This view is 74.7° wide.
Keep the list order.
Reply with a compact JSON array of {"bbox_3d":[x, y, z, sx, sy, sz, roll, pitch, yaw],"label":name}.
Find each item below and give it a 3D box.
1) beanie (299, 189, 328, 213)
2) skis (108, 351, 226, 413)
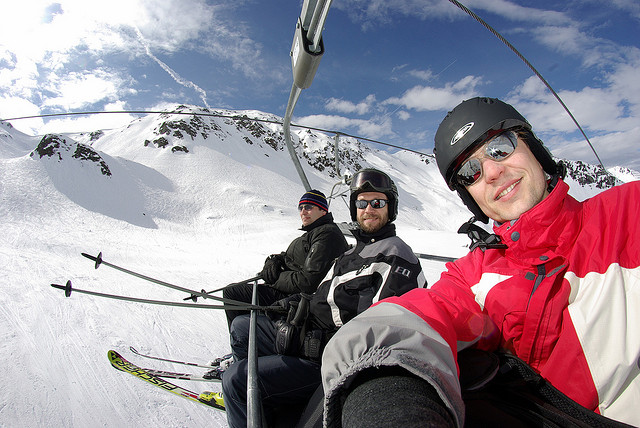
[{"bbox_3d":[-0.096,-0.249,7.516,0.433,0.308,0.414,7,-20,11],"label":"beanie"},{"bbox_3d":[-2.194,2.443,6.017,1.734,0.183,0.181,23,4,14],"label":"skis"}]
